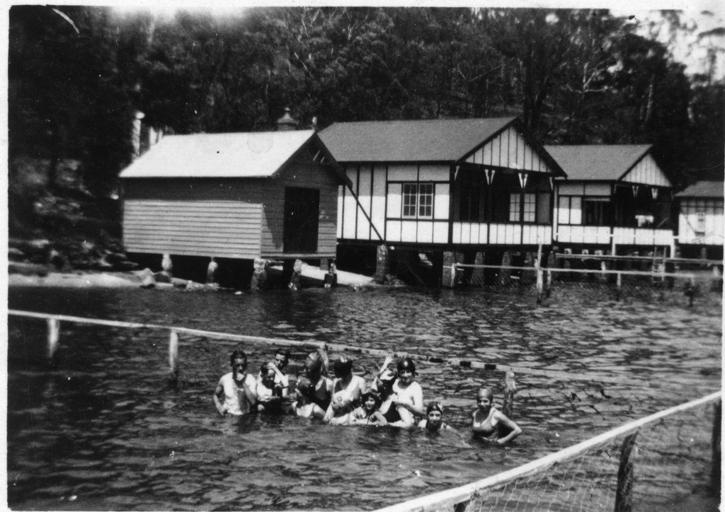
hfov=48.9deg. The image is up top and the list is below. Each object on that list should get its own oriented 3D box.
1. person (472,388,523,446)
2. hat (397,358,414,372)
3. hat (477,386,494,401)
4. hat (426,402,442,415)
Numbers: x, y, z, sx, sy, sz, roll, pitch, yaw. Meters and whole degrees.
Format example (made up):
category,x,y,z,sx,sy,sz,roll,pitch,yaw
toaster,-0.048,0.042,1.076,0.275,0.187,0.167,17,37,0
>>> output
category,x,y,z,sx,sy,sz,roll,pitch,yaw
person,2.575,3.246,16.051,1.105,1.145,0.560,-5,-7,41
hat,0.889,2.218,16.306,0.261,0.261,0.298,-1,-8,-4
hat,2.466,2.706,15.979,0.280,0.353,0.405,5,-14,9
hat,1.478,3.068,16.210,0.259,0.225,0.273,2,-6,-3
